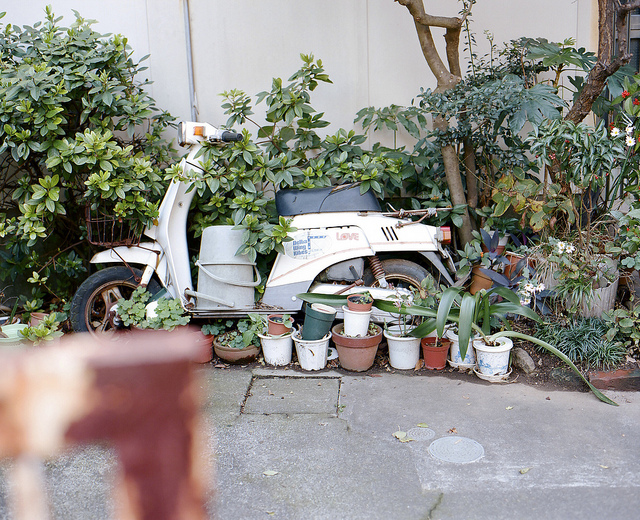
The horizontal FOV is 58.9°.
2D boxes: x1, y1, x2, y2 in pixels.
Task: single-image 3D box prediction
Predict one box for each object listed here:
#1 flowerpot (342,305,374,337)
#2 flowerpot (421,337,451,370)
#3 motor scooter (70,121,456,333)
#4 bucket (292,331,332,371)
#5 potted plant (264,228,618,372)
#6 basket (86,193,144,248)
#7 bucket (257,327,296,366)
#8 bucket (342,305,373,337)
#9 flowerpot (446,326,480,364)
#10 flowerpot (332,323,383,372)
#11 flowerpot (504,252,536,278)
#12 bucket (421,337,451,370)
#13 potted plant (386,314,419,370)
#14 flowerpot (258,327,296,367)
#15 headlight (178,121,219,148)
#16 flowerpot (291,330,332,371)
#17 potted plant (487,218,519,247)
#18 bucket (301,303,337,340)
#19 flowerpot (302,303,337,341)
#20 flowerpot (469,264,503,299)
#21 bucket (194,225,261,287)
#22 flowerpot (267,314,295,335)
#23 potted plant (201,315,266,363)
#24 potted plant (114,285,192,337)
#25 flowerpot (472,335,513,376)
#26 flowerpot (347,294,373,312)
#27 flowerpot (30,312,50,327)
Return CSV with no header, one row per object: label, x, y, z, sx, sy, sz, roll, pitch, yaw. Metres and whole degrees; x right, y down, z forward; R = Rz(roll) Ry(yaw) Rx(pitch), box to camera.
flowerpot,0.254,0.438,4.037,0.179,0.160,0.195,0,13,-5
flowerpot,0.814,0.667,4.095,0.200,0.190,0.198,-5,8,-34
motor scooter,-0.415,-0.385,5.385,2.664,1.700,1.157,-1,11,-3
bucket,-0.074,0.648,4.130,0.287,0.277,0.329,10,-9,-1
potted plant,0.933,0.292,4.653,2.490,1.590,1.117,0,-8,4
basket,-1.611,-0.344,4.422,0.405,0.425,0.271,-2,0,-15
bucket,-0.330,0.664,4.225,0.249,0.213,0.267,-1,7,0
bucket,0.265,0.429,3.960,0.176,0.157,0.190,2,14,0
flowerpot,1.015,0.593,4.016,0.210,0.192,0.217,1,14,13
flowerpot,0.216,0.610,4.162,0.338,0.319,0.475,1,16,-1
flowerpot,1.586,0.042,4.534,0.161,0.138,0.167,0,16,7
bucket,0.828,0.686,4.043,0.190,0.187,0.211,1,10,9
potted plant,0.611,0.647,4.131,0.253,0.256,0.261,1,6,28
flowerpot,-0.322,0.643,4.225,0.265,0.244,0.290,-1,11,3
headlight,-0.943,-0.955,4.319,0.236,0.172,0.129,0,-10,-20
flowerpot,-0.058,0.668,4.134,0.227,0.201,0.243,-1,8,1
potted plant,1.535,-0.236,4.772,0.216,0.241,0.237,2,0,6
bucket,-0.040,0.444,4.120,0.213,0.237,0.209,23,1,0
flowerpot,-0.025,0.465,4.124,0.217,0.243,0.208,21,-1,-40
flowerpot,1.282,0.170,4.468,0.193,0.252,0.256,3,14,16
bucket,-0.695,-0.032,4.247,0.423,0.432,0.205,-3,13,-8
flowerpot,-0.307,0.482,4.078,0.132,0.110,0.146,1,6,8
potted plant,-0.592,0.610,4.352,0.483,0.301,0.586,1,15,1
potted plant,-1.127,0.338,3.857,0.486,0.359,0.300,6,-2,2
flowerpot,1.187,0.664,3.925,0.283,0.243,0.298,-3,14,6
flowerpot,0.284,0.306,4.020,0.179,0.070,0.212,0,15,4
flowerpot,-2.107,0.445,4.231,0.090,0.090,0.107,-12,18,-38
